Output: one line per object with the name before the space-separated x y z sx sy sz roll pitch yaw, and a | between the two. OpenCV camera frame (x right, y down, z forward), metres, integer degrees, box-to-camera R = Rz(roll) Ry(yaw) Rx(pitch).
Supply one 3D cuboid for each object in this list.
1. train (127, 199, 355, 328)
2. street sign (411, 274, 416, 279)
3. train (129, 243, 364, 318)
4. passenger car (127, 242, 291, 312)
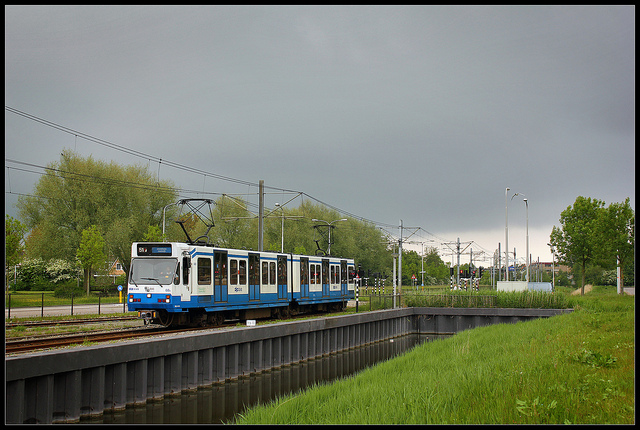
train | -3.097 3.292 33.550 3.165 5.782 19.308 -4 -8 28
street sign | 10.765 6.981 64.605 0.438 0.505 0.434 -2 -17 4
train | -2.852 3.770 33.589 2.655 4.730 19.931 -7 -5 28
passenger car | -4.948 3.888 30.934 2.847 3.963 13.107 -4 -9 24
